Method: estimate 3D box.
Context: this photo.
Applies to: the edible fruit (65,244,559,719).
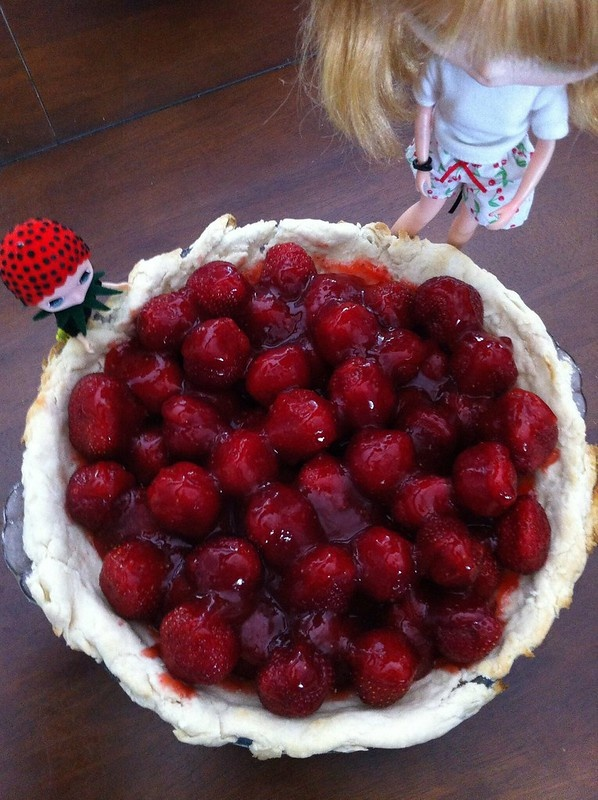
[{"bbox_3d":[0.015,0.071,0.929,0.546,0.204,0.530,-23,60,-13],"label":"edible fruit"}]
